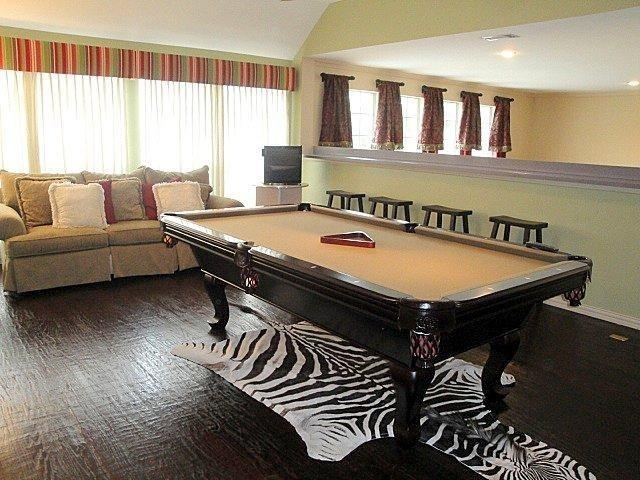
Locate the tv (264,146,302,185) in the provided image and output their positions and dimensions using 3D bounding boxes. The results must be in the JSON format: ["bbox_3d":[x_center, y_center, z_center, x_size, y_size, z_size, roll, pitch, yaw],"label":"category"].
[{"bbox_3d":[-0.505,-1.018,5.862,0.523,0.512,0.130,-4,13,-9],"label":"tv"}]

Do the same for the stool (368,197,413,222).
[{"bbox_3d":[0.893,-0.391,5.302,0.282,0.521,0.450,-3,8,-35],"label":"stool"}]

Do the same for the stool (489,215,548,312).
[{"bbox_3d":[2.035,0.127,4.325,0.398,0.732,0.640,2,5,-37],"label":"stool"}]
